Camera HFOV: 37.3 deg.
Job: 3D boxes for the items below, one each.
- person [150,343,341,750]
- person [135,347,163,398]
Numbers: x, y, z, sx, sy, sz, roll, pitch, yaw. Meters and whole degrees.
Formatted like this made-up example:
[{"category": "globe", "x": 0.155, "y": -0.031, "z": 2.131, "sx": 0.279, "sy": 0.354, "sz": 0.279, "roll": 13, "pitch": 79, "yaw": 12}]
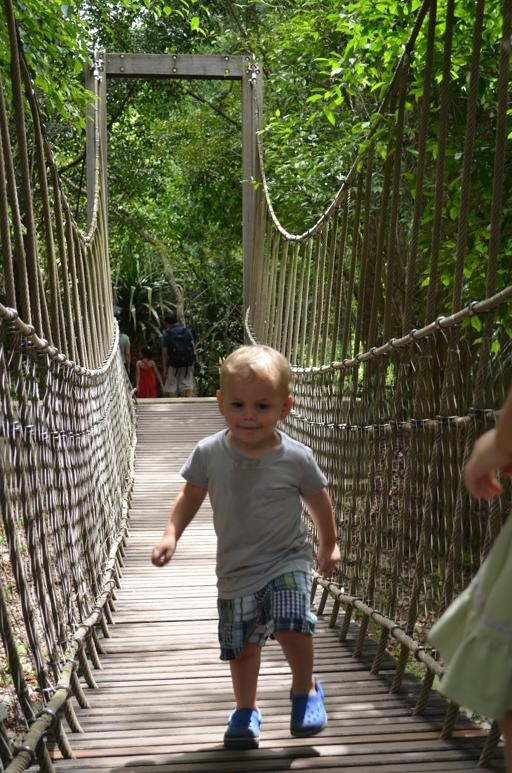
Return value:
[{"category": "person", "x": 0.024, "y": 0.332, "z": 1.686, "sx": 0.363, "sy": 0.861, "sz": 0.252, "roll": -2, "pitch": -5, "yaw": -7}, {"category": "person", "x": -1.581, "y": -0.159, "z": 10.933, "sx": 0.343, "sy": 0.756, "sz": 0.163, "roll": -1, "pitch": 39, "yaw": 0}]
